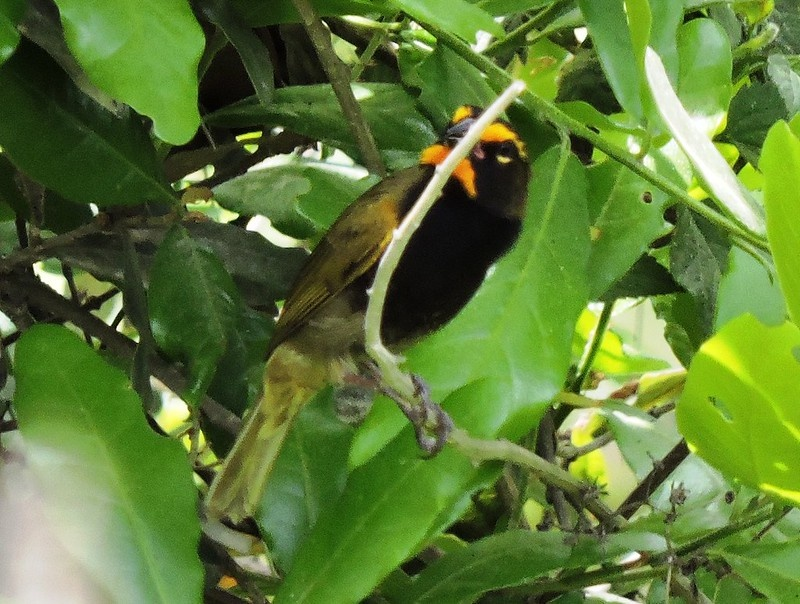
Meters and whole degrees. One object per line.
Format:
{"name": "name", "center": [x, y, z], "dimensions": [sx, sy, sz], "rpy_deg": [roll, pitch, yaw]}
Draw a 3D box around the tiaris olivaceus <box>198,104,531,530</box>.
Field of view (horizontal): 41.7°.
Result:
{"name": "tiaris olivaceus", "center": [-0.029, 0.014, 0.711], "dimensions": [0.247, 0.265, 0.113], "rpy_deg": [-4, -8, 29]}
